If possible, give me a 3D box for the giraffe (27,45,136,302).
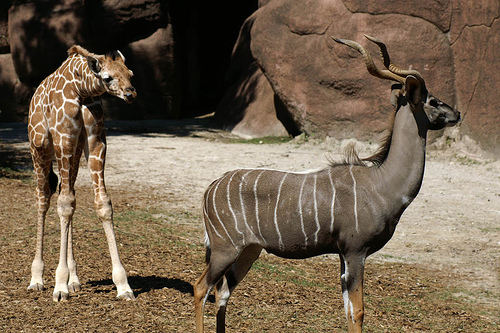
[{"bbox_3d":[-3.308,0.207,15.807,2.031,4.652,1.021,-2,8,9],"label":"giraffe"}]
